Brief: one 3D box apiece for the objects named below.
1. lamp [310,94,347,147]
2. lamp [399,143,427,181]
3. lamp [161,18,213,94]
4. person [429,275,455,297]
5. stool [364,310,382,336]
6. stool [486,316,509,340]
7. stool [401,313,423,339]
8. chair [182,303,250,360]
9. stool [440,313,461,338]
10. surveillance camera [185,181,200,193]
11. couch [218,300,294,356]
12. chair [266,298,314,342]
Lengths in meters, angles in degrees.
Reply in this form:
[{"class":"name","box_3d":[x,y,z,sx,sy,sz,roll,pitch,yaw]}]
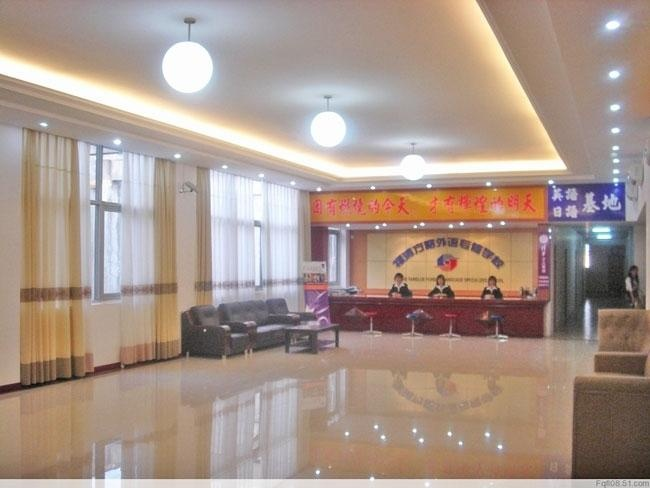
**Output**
[{"class":"lamp","box_3d":[0.055,-1.829,7.960,0.437,0.763,0.825,0,0,4]},{"class":"lamp","box_3d":[1.687,-1.632,10.546,0.388,0.743,1.359,0,0,7]},{"class":"lamp","box_3d":[-1.505,-2.104,5.974,0.575,0.840,0.579,1,11,-14]},{"class":"person","box_3d":[3.008,1.151,13.935,0.531,0.282,0.713,-4,12,13]},{"class":"stool","box_3d":[1.147,1.950,13.333,0.459,0.511,0.454,0,-6,5]},{"class":"stool","box_3d":[3.954,1.897,12.401,0.436,0.495,0.533,0,0,18]},{"class":"stool","box_3d":[2.085,1.935,12.935,0.520,0.517,0.528,0,-11,4]},{"class":"chair","box_3d":[-2.178,1.693,10.707,1.299,0.958,1.274,4,-6,-44]},{"class":"stool","box_3d":[2.979,1.928,12.854,0.486,0.486,0.495,-1,-9,8]},{"class":"surveillance camera","box_3d":[-2.658,-1.158,10.621,0.272,0.232,0.479,0,0,-15]},{"class":"couch","box_3d":[-1.434,1.686,11.343,0.835,1.008,1.502,-7,-4,34]},{"class":"chair","box_3d":[-0.845,1.675,12.072,0.912,0.911,0.881,-5,-5,37]}]
